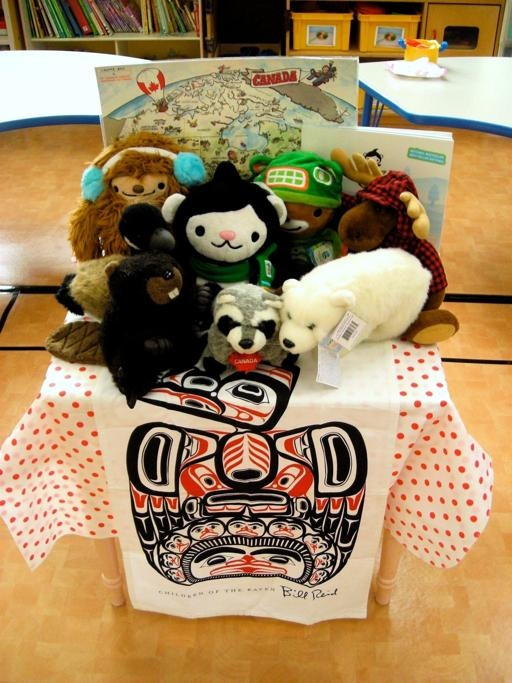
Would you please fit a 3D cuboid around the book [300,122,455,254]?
[{"bbox_3d":[0.208,-0.279,1.034,0.294,0.243,0.040,13,35,13],"label":"book"}]
